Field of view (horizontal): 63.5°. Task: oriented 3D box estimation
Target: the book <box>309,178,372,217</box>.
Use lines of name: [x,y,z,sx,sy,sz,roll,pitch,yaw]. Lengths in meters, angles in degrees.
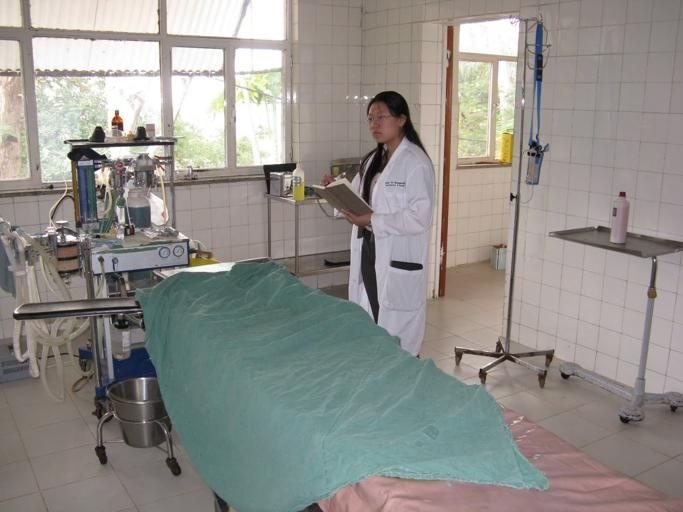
book: [0.019,-0.349,3.327,0.260,0.106,0.254,9,-25,44]
